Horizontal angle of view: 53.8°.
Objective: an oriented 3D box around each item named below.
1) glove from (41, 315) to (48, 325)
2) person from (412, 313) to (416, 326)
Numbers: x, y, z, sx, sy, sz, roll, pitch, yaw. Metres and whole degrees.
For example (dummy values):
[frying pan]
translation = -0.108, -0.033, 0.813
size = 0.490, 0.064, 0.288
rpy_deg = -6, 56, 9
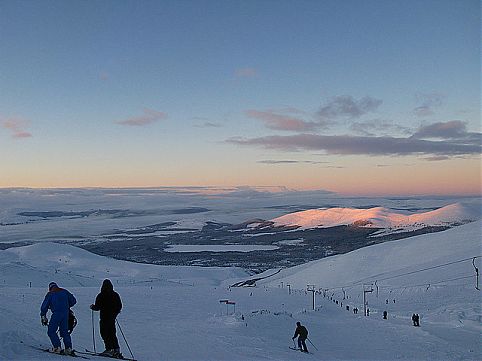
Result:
[glove]
translation = -11.398, 8.074, 27.458
size = 0.313, 0.692, 0.643
rpy_deg = -5, -2, -21
[person]
translation = 14.120, 11.411, 38.907
size = 0.301, 0.802, 0.810
rpy_deg = -7, -3, 17
